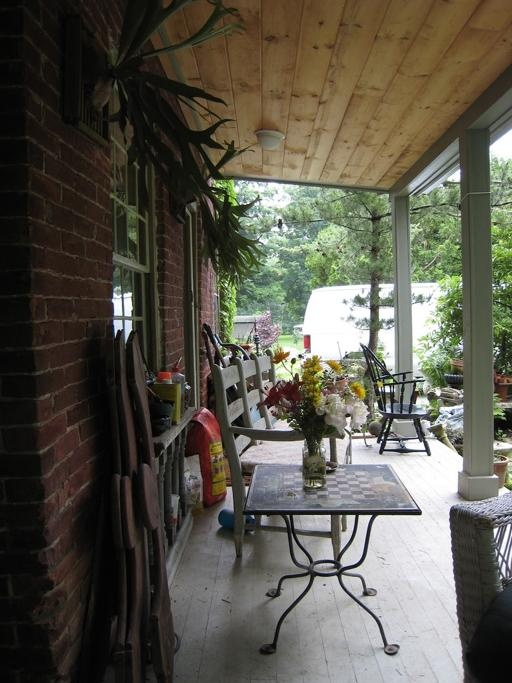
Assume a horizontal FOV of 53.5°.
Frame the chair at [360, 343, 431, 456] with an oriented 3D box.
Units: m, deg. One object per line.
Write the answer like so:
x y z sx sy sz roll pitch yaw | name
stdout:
1.263 0.522 4.605 0.558 1.038 0.605 -4 2 0 | chair

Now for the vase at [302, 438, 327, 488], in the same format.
0.213 0.454 1.894 0.084 0.171 0.090 0 1 35 | vase

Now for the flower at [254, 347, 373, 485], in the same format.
0.228 0.295 1.922 0.359 0.484 0.264 0 1 19 | flower
